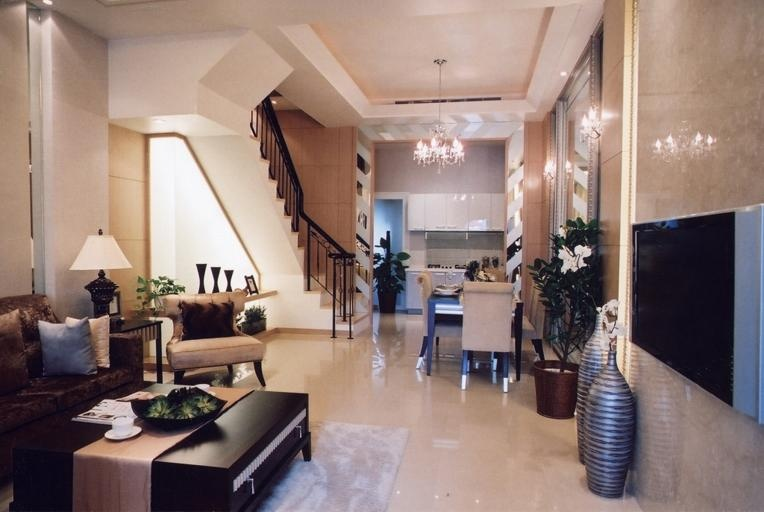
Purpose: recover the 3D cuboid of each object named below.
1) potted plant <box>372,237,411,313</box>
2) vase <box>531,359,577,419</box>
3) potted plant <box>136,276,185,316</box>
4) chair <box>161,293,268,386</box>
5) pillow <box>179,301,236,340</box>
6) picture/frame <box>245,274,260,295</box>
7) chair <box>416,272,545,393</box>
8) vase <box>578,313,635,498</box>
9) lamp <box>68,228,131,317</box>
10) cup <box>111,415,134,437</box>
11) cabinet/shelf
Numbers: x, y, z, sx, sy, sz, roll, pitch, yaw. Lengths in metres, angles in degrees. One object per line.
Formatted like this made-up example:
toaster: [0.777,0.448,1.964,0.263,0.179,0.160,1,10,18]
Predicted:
potted plant: [0.170,0.336,10.997,0.637,1.488,0.496,-1,10,-2]
vase: [1.740,1.354,5.646,0.441,0.423,0.471,7,-6,-27]
potted plant: [-2.714,0.478,7.027,0.485,0.369,0.502,0,-1,12]
chair: [-1.891,0.938,6.373,1.042,1.030,1.039,-1,-1,-19]
pillow: [-1.945,0.710,6.411,0.629,0.463,0.236,-1,19,-22]
picture/frame: [-1.922,0.434,8.399,0.155,0.357,0.167,-15,-4,-42]
chair: [1.093,1.059,6.888,1.119,0.864,1.741,1,2,12]
vase: [1.756,1.231,4.386,0.369,1.211,0.308,2,10,16]
lamp: [-2.894,0.192,5.882,0.570,0.879,0.598,0,2,18]
cup: [-1.870,1.215,4.110,0.136,0.113,0.135,0,5,0]
cabinet/shelf: [1.373,-0.817,10.802,1.793,0.706,0.356,0,10,3]
